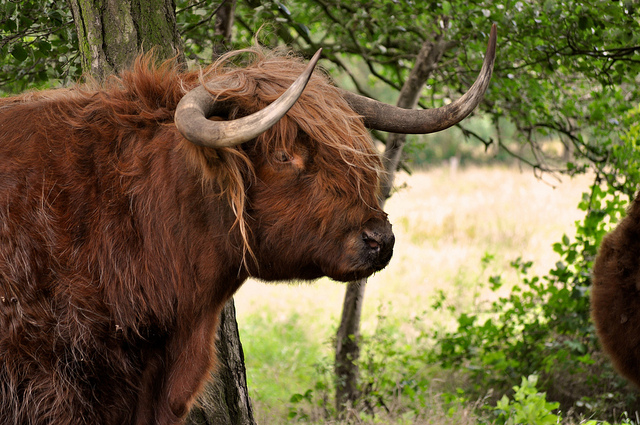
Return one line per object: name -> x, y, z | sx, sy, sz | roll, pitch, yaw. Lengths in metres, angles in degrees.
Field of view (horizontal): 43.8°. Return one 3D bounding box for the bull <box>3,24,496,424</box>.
bull -> -0.181, 0.058, 5.677 | 3.957, 2.297, 1.995 | -16, -8, 21
